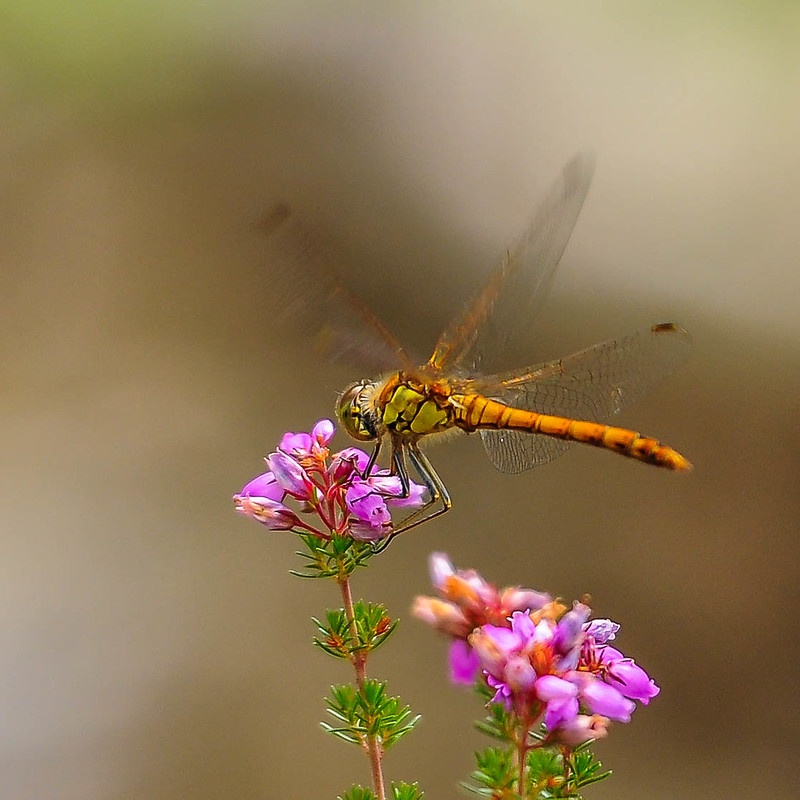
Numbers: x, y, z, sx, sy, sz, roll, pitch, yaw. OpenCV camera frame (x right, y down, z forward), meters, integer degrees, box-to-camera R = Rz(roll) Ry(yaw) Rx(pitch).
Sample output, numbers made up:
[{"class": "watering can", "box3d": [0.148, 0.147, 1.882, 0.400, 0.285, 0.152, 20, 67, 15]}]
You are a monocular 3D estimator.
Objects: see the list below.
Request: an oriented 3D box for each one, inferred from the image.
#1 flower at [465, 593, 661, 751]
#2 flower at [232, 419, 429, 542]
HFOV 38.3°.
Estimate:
[{"class": "flower", "box3d": [0.339, 0.557, 2.448, 0.377, 0.301, 0.275, -15, -80, 3]}, {"class": "flower", "box3d": [-0.135, 0.187, 2.625, 0.289, 0.298, 0.197, 20, -67, 35]}]
